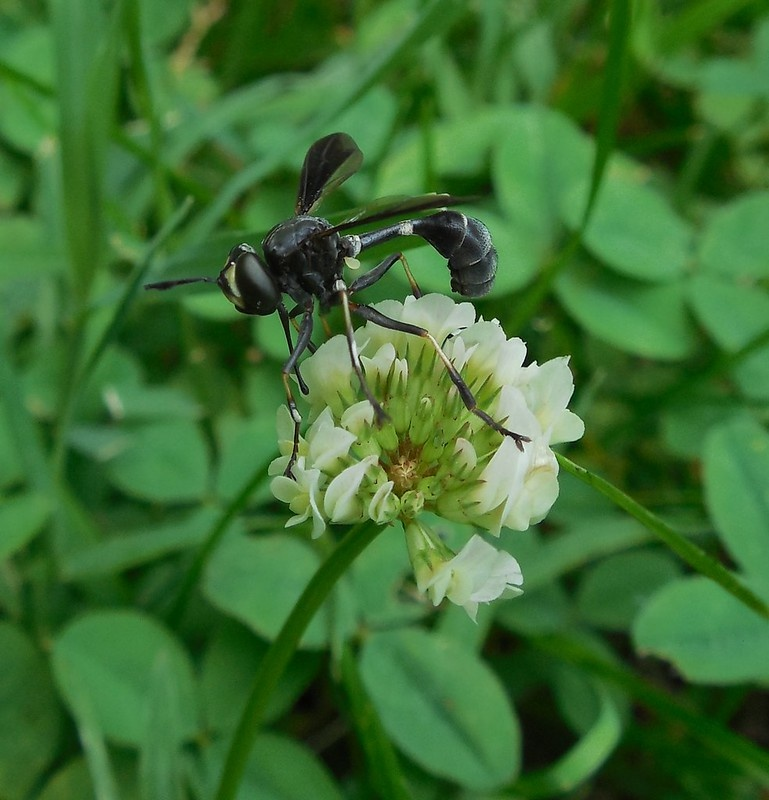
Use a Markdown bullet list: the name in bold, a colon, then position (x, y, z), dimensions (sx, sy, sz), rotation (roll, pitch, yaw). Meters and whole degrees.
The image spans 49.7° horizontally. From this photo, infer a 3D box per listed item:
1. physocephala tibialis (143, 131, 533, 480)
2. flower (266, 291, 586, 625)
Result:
- **physocephala tibialis**: position (-0.057, -0.110, 0.893), dimensions (0.374, 0.340, 0.232), rotation (-14, 89, 26)
- **flower**: position (0.072, 0.080, 0.865), dimensions (0.319, 0.144, 0.301), rotation (18, 85, 18)
